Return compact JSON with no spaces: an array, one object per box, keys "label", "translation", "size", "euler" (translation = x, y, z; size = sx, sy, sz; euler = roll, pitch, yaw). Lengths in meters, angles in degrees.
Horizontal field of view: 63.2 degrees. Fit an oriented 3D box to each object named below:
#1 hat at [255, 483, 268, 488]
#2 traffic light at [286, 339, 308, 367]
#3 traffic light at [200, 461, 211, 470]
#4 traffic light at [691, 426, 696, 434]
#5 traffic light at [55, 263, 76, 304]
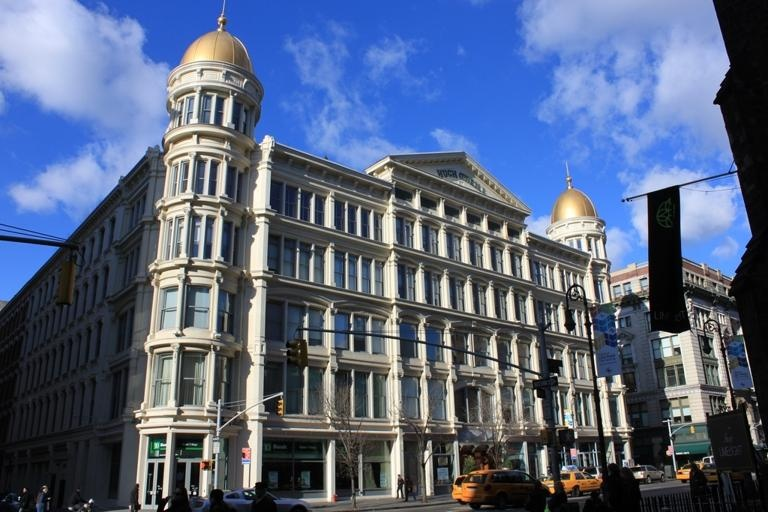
[{"label":"hat","translation":[-3.709,6.969,18.995],"size":[0.317,0.078,0.311],"euler":[10,-9,-32]},{"label":"traffic light","translation":[-3.891,4.279,28.026],"size":[0.837,1.400,0.923],"euler":[-3,-26,-1]},{"label":"traffic light","translation":[-11.617,13.606,40.881],"size":[0.648,0.694,1.382],"euler":[4,-27,-15]},{"label":"traffic light","translation":[36.807,20.652,74.629],"size":[0.505,0.720,0.197],"euler":[-18,-30,27]},{"label":"traffic light","translation":[-11.391,0.998,22.469],"size":[0.500,1.540,0.949],"euler":[11,-30,-26]}]
